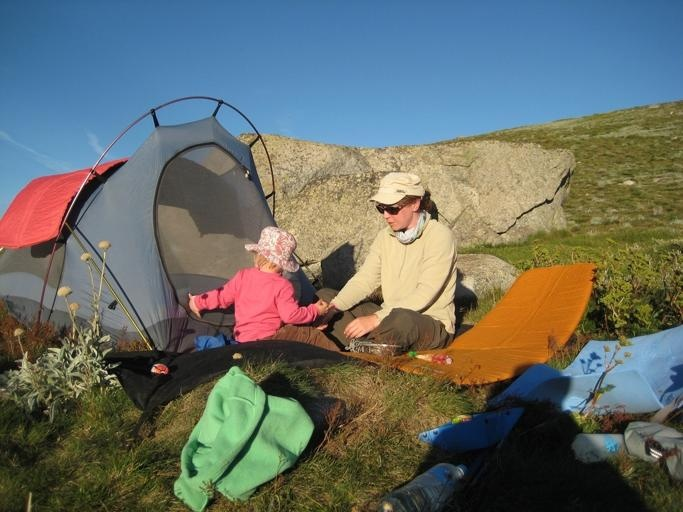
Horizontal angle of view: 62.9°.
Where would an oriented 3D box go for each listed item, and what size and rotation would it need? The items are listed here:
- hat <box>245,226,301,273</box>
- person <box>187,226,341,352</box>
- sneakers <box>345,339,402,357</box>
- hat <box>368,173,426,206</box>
[{"bbox_3d":[-0.631,-0.061,5.505,0.493,0.277,0.379,35,12,-6],"label":"hat"},{"bbox_3d":[-0.773,0.384,5.737,1.601,1.237,1.023,-1,2,9],"label":"person"},{"bbox_3d":[0.309,0.889,5.397,0.519,0.245,0.184,-4,4,18],"label":"sneakers"},{"bbox_3d":[0.590,-0.688,5.743,0.448,0.214,0.317,-12,12,-33],"label":"hat"}]
